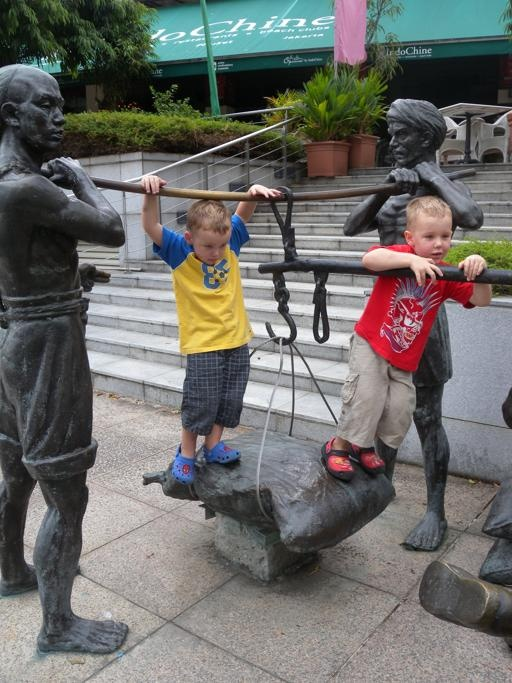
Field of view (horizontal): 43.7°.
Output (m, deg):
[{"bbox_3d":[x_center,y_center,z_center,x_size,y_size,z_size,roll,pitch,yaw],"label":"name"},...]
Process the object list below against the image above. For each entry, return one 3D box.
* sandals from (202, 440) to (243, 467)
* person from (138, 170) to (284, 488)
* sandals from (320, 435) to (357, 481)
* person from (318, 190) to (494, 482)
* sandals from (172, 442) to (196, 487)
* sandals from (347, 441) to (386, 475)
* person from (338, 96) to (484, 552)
[{"bbox_3d":[-0.163,0.543,3.053,0.171,0.070,0.090,-1,3,40],"label":"sandals"},{"bbox_3d":[-0.202,-0.068,2.932,0.292,1.322,0.741,11,16,42],"label":"person"},{"bbox_3d":[0.377,0.538,2.880,0.095,0.082,0.224,0,6,-17],"label":"sandals"},{"bbox_3d":[0.559,-0.022,2.884,0.749,1.244,0.680,21,21,23],"label":"person"},{"bbox_3d":[-0.336,0.589,2.955,0.081,0.076,0.196,1,10,-9],"label":"sandals"},{"bbox_3d":[0.510,0.539,2.978,0.096,0.084,0.205,-10,13,-37],"label":"sandals"},{"bbox_3d":[0.717,-0.036,3.192,0.859,2.170,0.757,11,20,26],"label":"person"}]
